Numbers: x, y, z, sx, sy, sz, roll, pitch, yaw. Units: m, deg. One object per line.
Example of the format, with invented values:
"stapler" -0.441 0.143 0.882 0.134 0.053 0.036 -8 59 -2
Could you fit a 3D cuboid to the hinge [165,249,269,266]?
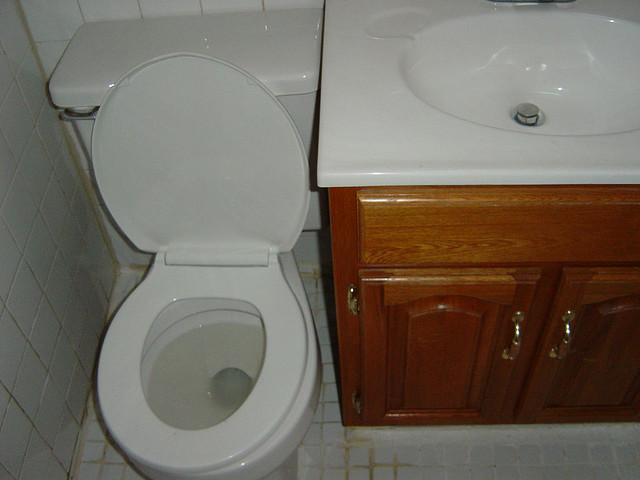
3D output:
"hinge" -0.244 0.043 1.280 0.210 0.041 0.043 -3 6 4
